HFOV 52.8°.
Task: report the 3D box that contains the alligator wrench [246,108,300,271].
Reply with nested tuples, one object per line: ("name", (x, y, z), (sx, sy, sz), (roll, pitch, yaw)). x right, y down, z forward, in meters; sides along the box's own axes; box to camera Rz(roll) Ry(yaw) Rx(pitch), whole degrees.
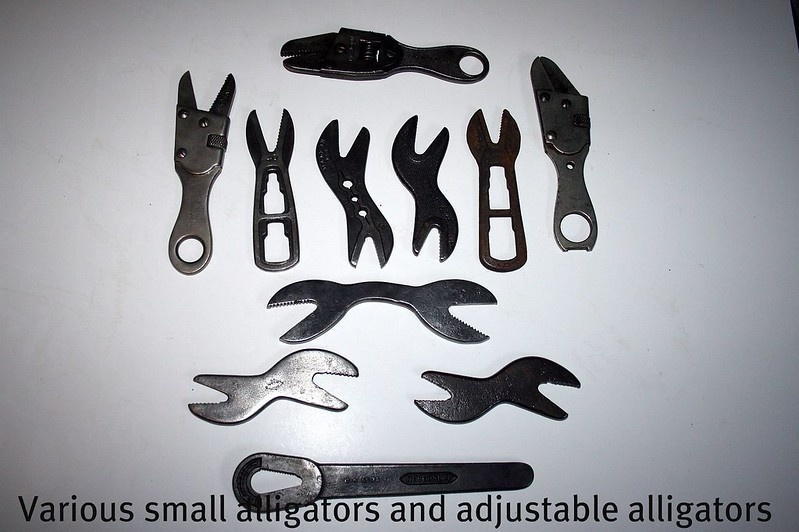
("alligator wrench", (-0.472, -0.289, 3.031), (0.193, 0.595, 0.236), (0, 9, -13))

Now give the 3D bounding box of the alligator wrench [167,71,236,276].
("alligator wrench", (-0.749, -0.342, 2.953), (0.180, 0.724, 0.090), (1, -15, -6))

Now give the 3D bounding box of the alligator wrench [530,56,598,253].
("alligator wrench", (0.644, -0.433, 3.083), (0.199, 0.735, 0.101), (1, -13, -1))

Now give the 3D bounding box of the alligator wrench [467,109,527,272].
("alligator wrench", (0.370, -0.290, 3.064), (0.214, 0.601, 0.220), (1, 9, -7))
